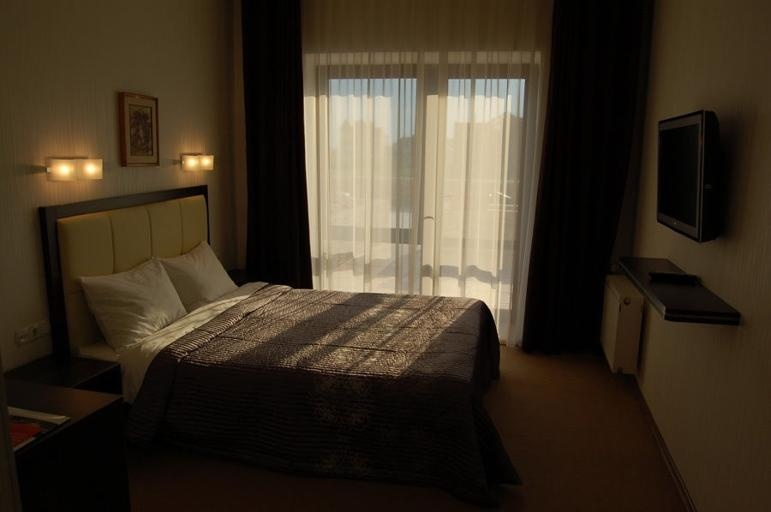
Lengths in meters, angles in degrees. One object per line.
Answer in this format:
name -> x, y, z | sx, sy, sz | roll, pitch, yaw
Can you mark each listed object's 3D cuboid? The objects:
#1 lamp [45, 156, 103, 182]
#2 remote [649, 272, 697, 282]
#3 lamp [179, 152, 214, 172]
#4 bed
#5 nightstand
lamp -> -2.429, -0.683, 4.293 | 0.395, 0.191, 0.143 | -15, 20, -40
remote -> 2.089, 0.158, 4.008 | 0.303, 0.061, 0.075 | 3, 16, 16
lamp -> -1.891, -0.954, 5.650 | 0.170, 0.224, 0.511 | 1, 15, 12
bed -> -0.830, 0.499, 4.389 | 3.309, 1.905, 1.752 | 3, 16, 18
nightstand -> -2.328, 0.856, 3.956 | 0.278, 0.232, 0.447 | 5, 9, 10
